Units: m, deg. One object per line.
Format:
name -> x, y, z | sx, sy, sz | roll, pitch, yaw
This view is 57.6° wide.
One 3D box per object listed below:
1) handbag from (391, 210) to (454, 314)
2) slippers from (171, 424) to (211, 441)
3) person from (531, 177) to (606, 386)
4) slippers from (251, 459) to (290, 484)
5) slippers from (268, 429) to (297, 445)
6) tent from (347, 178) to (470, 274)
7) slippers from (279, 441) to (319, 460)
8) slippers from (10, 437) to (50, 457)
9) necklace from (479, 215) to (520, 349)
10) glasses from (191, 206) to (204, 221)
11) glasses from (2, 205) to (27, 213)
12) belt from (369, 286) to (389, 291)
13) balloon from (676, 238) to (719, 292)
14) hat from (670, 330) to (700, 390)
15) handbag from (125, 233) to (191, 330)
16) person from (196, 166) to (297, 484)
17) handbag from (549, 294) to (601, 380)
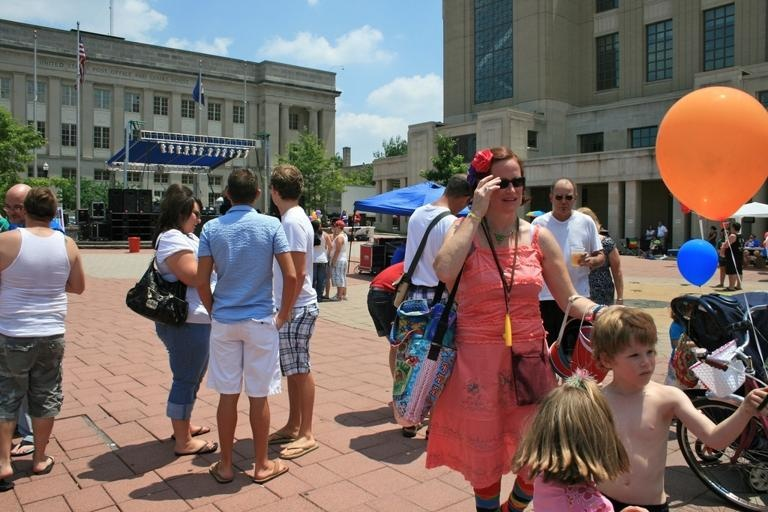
handbag -> 0.300, 0.111, 7.226 | 0.375, 1.031, 0.635 | 25, 23, 4
slippers -> -2.038, 1.871, 7.472 | 0.142, 0.108, 0.405 | 3, 6, 22
person -> 2.123, 0.372, 8.190 | 0.861, 2.463, 0.737 | 0, 24, 7
slippers -> -1.097, 2.085, 6.721 | 0.306, 0.190, 0.153 | -15, 13, -39
slippers -> -1.092, 1.924, 7.405 | 0.245, 0.088, 0.136 | 5, -6, -29
tent -> 1.009, -0.915, 18.293 | 2.813, 2.076, 2.598 | -1, 2, -34
slippers -> -0.885, 1.981, 7.113 | 0.287, 0.086, 0.159 | 2, -6, -42
slippers -> -3.724, 1.966, 7.161 | 0.247, 0.142, 0.520 | 1, -4, -18
necklace -> 0.934, 0.190, 5.519 | 0.302, 0.993, 0.051 | -9, -6, 3
glasses -> -1.994, -0.453, 7.300 | 0.112, 0.133, 0.135 | 1, 24, 27
glasses -> -4.002, -0.505, 7.542 | 0.194, 0.059, 0.201 | 1, 2, -7
belt -> -0.048, 0.374, 7.820 | 0.089, 0.033, 0.096 | 2, -9, 37
balloon -> 4.227, 0.116, 9.265 | 0.607, 0.777, 0.610 | -1, -7, 4
hat -> 2.772, 0.974, 6.443 | 0.262, 0.501, 0.384 | -2, 6, 26
handbag -> -2.269, 0.356, 6.950 | 0.587, 0.655, 0.342 | 0, 12, -2
person -> -1.317, 0.660, 6.722 | 0.919, 2.897, 0.823 | -3, 13, -12
handbag -> 1.618, 0.703, 5.873 | 0.420, 0.323, 0.632 | 9, -15, 16
